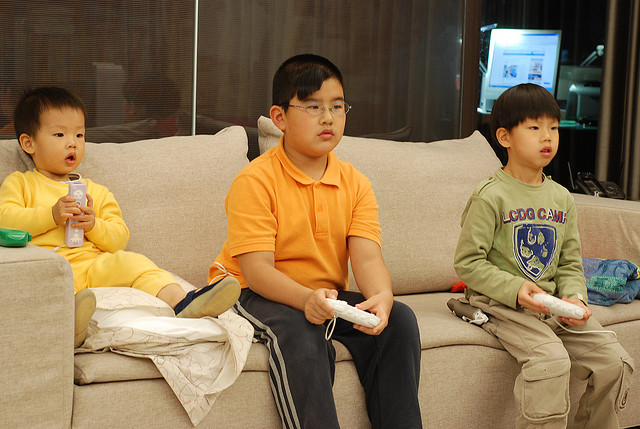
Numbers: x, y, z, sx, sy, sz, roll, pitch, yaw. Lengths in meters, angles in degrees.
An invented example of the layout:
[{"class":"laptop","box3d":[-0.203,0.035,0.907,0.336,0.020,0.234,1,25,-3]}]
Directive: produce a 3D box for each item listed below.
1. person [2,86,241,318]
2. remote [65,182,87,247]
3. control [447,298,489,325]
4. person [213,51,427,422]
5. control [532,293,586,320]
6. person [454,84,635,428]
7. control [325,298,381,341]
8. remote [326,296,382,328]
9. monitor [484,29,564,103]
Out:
[{"class":"person","box3d":[-0.538,0.005,1.876,0.877,0.799,0.592,6,-6,33]},{"class":"remote","box3d":[-0.807,0.003,1.712,0.073,0.218,0.059,-6,13,-32]},{"class":"control","box3d":[0.506,0.330,1.777,0.109,0.054,0.043,24,2,40]},{"class":"person","box3d":[-0.019,0.049,1.545,0.595,1.061,0.531,-2,11,-13]},{"class":"control","box3d":[0.738,0.284,1.601,0.153,0.062,0.037,5,12,24]},{"class":"person","box3d":[0.759,0.142,1.785,0.511,1.162,0.584,-5,12,-29]},{"class":"control","box3d":[0.083,0.286,1.419,0.158,0.044,0.125,13,40,2]},{"class":"remote","box3d":[0.093,0.269,1.414,0.129,0.039,0.068,26,7,-10]},{"class":"monitor","box3d":[1.260,-0.926,3.211,0.466,0.436,0.134,-2,11,-12]}]
